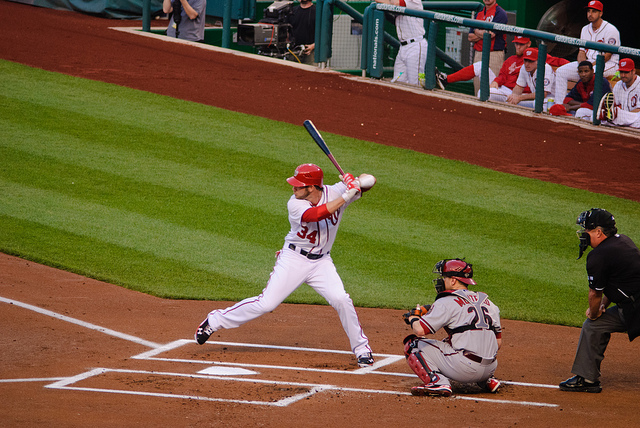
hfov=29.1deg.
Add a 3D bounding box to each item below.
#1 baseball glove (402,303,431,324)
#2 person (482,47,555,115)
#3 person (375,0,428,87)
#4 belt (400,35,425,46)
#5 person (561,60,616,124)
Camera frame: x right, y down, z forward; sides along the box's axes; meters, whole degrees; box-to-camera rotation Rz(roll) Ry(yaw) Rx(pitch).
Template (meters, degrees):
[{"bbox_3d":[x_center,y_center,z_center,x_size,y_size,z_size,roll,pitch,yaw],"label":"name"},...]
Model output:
[{"bbox_3d":[1.231,1.395,16.592,0.340,0.167,0.410,-14,9,-34],"label":"baseball glove"},{"bbox_3d":[3.827,-2.478,23.580,0.699,0.943,1.143,-11,26,-33],"label":"person"},{"bbox_3d":[1.867,-3.275,24.912,0.922,1.386,0.345,14,12,35],"label":"person"},{"bbox_3d":[1.821,-3.434,24.858,0.296,0.100,0.220,-20,2,-7],"label":"belt"},{"bbox_3d":[4.963,-2.241,22.883,0.671,1.138,1.138,0,12,-33],"label":"person"}]
